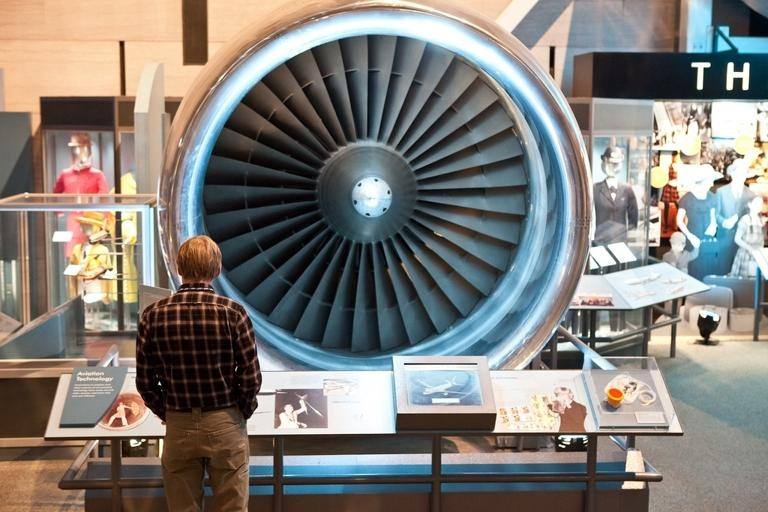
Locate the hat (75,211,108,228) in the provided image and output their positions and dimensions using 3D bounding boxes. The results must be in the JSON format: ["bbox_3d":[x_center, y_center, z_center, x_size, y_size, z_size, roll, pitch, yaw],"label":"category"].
[{"bbox_3d":[-1.958,-0.250,4.944,0.252,0.098,0.035,0,2,20],"label":"hat"}]

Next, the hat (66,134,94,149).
[{"bbox_3d":[-2.831,-1.080,6.814,0.152,0.146,0.050,-2,13,-8],"label":"hat"}]

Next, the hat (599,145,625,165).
[{"bbox_3d":[2.197,-0.978,7.051,0.159,0.161,0.182,4,11,2],"label":"hat"}]
